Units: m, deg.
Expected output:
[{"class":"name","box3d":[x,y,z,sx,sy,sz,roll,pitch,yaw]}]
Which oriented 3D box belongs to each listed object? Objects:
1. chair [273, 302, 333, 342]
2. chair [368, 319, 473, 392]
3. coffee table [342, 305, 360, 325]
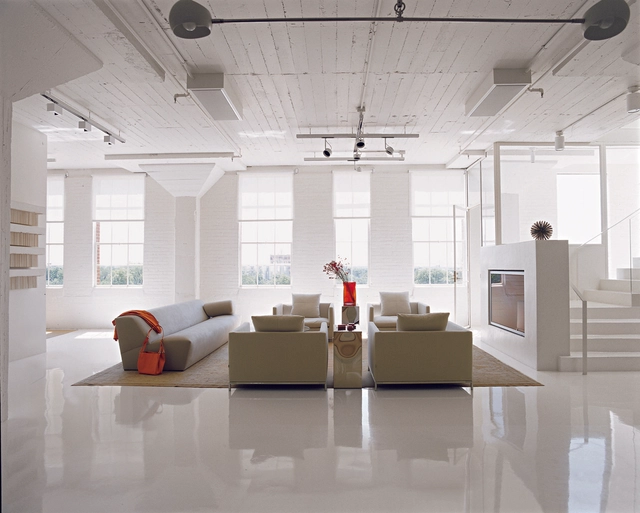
[{"class":"chair","box3d":[-0.217,1.224,9.445,0.979,0.799,0.701,0,-8,6]},{"class":"chair","box3d":[1.310,1.267,6.439,0.877,0.531,0.887,0,-2,3]},{"class":"coffee table","box3d":[0.441,0.893,7.152,0.221,0.354,0.761,0,7,1]}]
